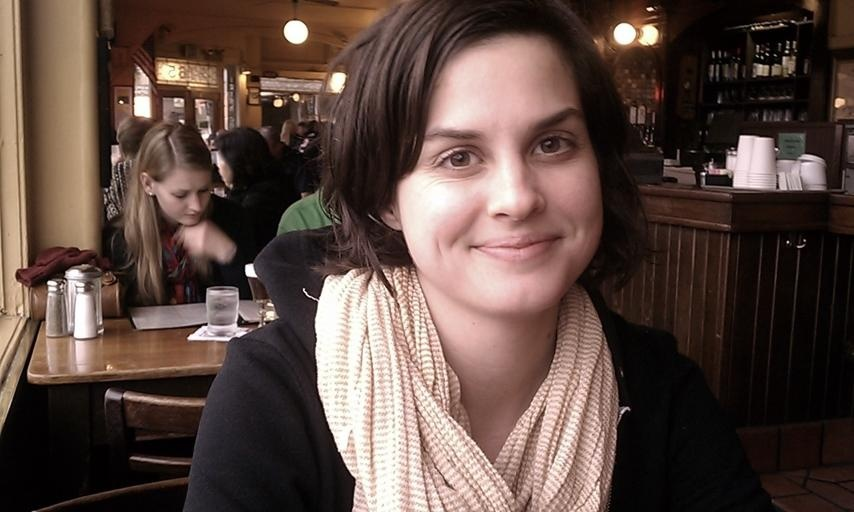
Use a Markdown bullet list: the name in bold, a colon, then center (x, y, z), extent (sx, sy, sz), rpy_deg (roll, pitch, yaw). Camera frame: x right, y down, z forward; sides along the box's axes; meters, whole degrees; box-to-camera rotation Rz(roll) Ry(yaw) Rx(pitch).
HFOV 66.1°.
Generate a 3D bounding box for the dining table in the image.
- **dining table**: center (-1.467, 0.778, 3.369), extent (1.183, 0.678, 1.441), rpy_deg (-2, 2, -44)

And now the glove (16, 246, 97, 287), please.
- **glove**: center (-1.850, 0.040, 3.313), extent (0.277, 0.104, 0.226), rpy_deg (-13, 14, -33)

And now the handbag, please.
- **handbag**: center (-1.670, 0.165, 3.176), extent (0.349, 0.223, 0.259), rpy_deg (0, 11, -9)

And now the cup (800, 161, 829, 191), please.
- **cup**: center (2.444, -0.510, 4.135), extent (0.189, 0.169, 0.128), rpy_deg (-3, 7, -22)
